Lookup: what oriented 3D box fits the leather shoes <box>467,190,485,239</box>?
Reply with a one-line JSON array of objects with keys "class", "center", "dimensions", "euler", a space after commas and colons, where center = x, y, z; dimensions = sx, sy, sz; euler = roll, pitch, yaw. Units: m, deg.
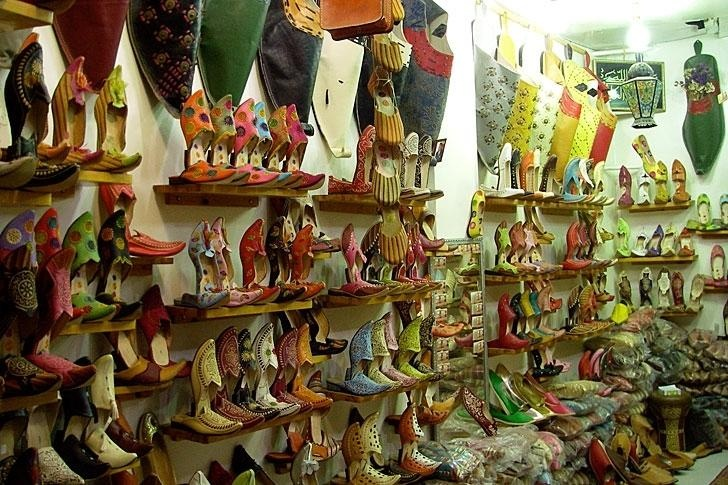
[{"class": "leather shoes", "center": [0.875, -0.221, 4.393], "dimensions": [0.120, 0.405, 0.146], "euler": [6, 5, -17]}]
